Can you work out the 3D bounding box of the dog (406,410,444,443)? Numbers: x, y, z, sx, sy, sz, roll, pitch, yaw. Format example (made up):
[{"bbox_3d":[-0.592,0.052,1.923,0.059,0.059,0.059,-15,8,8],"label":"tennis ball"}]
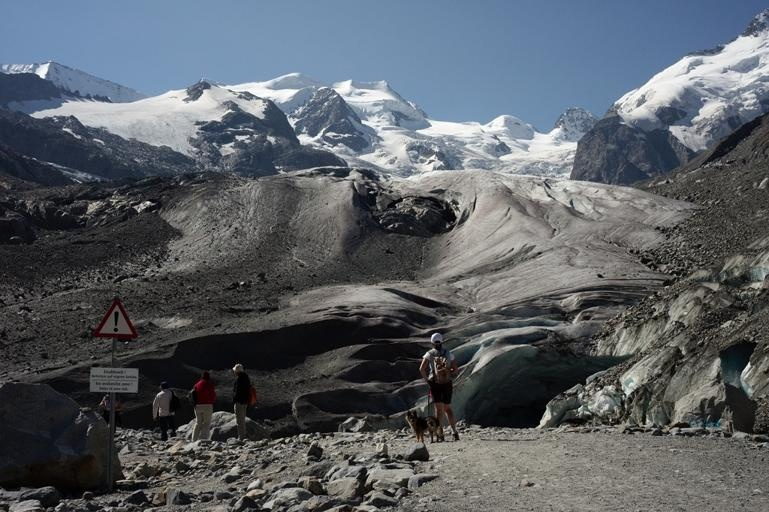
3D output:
[{"bbox_3d":[0.947,4.205,18.943,0.373,0.621,1.295,-22,-28,38],"label":"dog"}]

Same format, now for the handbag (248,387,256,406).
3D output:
[{"bbox_3d":[-3.692,3.789,21.179,0.155,0.494,0.559,-5,8,-4],"label":"handbag"}]

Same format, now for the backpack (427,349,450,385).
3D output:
[{"bbox_3d":[1.352,2.652,18.911,0.583,0.801,0.341,-3,8,8],"label":"backpack"}]
